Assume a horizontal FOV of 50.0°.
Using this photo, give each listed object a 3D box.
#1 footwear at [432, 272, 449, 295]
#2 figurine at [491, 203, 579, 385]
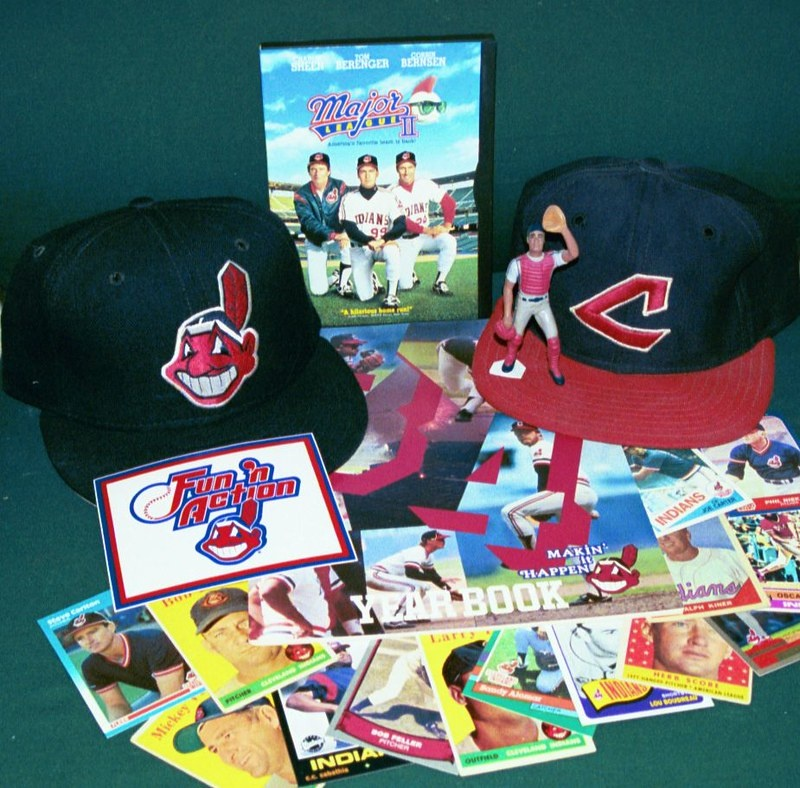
[{"bbox_3d":[0.073,-0.198,1.571,0.016,0.023,0.054,-15,69,-8],"label":"footwear"},{"bbox_3d":[0.216,-0.151,1.352,0.120,0.301,0.086,11,35,22],"label":"figurine"}]
